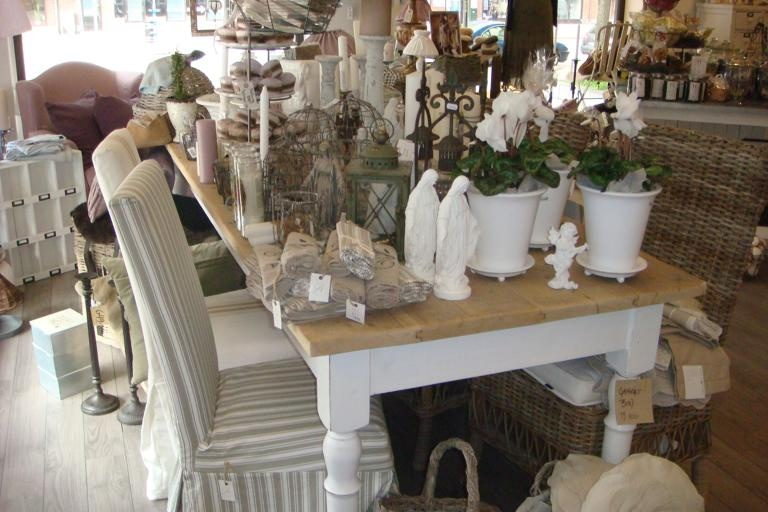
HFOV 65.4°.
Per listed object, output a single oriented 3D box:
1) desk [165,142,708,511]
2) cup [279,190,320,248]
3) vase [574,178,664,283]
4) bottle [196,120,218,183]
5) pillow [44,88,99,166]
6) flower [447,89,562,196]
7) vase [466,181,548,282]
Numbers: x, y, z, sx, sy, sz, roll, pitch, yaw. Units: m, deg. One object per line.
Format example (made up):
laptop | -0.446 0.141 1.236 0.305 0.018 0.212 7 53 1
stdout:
desk | 0.261 0.192 1.962 0.844 0.578 1.110 -9 28 -20
cup | -0.295 -0.138 2.171 0.164 0.195 0.165 3 9 0
vase | 0.771 -0.088 1.990 0.276 0.301 0.261 -14 23 -36
bottle | -0.832 -0.484 2.810 0.087 0.279 0.086 4 19 -1
pillow | -2.638 -1.122 4.975 0.358 0.351 0.198 -17 11 -43
flower | 0.407 -0.353 1.868 0.368 0.308 0.200 -8 19 -20
vase | 0.349 -0.085 1.958 0.279 0.305 0.267 0 25 1
